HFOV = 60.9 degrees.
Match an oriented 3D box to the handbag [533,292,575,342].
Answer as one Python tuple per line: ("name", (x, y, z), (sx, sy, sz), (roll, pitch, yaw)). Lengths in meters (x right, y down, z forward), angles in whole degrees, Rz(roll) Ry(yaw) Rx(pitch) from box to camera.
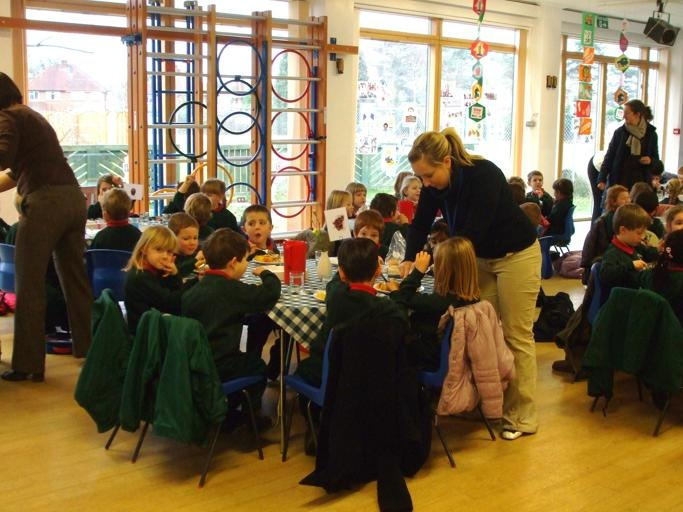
("handbag", (1.736, 0.459, 4.760), (0.354, 0.144, 0.420), (-15, 42, 37))

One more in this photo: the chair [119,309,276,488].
("chair", (-0.755, 0.558, 3.044), (0.737, 0.950, 0.768), (7, 11, 28))

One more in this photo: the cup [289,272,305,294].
("cup", (-0.245, 0.162, 3.244), (0.087, 0.115, 0.102), (1, 0, -4))

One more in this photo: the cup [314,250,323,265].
("cup", (-0.158, 0.012, 4.145), (0.087, 0.101, 0.090), (1, 7, 0))

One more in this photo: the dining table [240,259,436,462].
("dining table", (-0.033, 0.538, 3.306), (0.746, 0.940, 0.723), (7, 10, 43))

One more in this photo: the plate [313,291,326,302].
("plate", (-0.116, 0.211, 3.070), (0.053, 0.017, 0.055), (6, 18, 12))

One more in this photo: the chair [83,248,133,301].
("chair", (-1.524, 0.119, 3.769), (0.255, 0.328, 0.233), (4, 22, -4))
